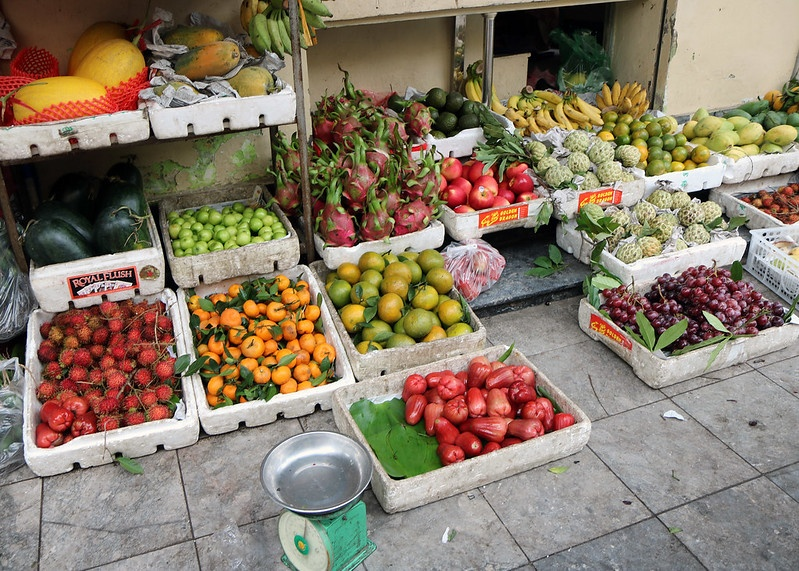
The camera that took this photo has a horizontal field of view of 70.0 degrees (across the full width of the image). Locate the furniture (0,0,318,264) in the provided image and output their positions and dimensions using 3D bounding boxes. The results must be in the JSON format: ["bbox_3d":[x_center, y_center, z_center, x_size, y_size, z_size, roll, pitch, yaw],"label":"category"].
[{"bbox_3d":[-1.574,-0.986,3.591,1.324,1.638,0.467,-16,28,-28],"label":"furniture"}]
